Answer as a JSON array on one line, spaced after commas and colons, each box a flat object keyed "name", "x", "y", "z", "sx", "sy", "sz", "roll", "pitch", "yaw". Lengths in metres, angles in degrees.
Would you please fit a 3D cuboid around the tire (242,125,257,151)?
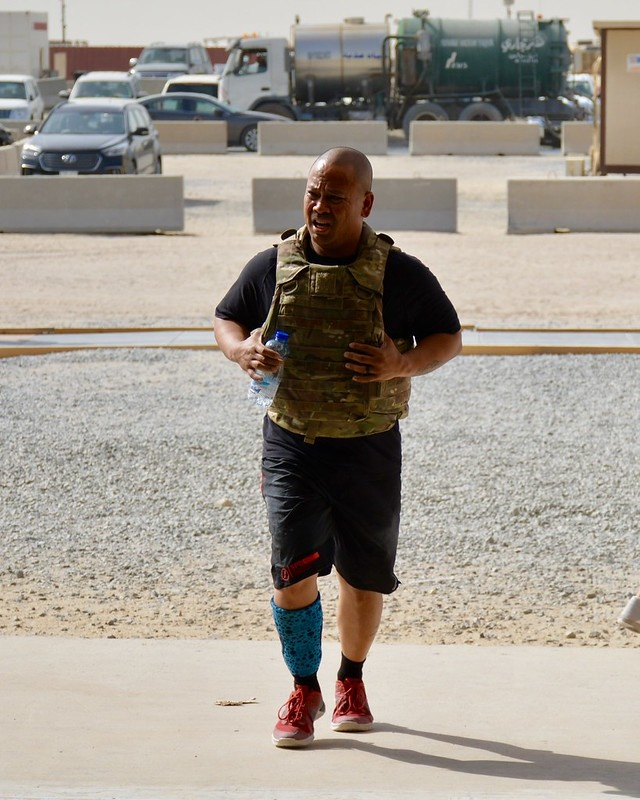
[{"name": "tire", "x": -1.233, "y": -4.562, "z": 29.312, "sx": 0.470, "sy": 0.417, "sz": 0.144, "roll": 0, "pitch": 11, "yaw": 2}]

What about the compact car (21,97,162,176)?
[{"name": "compact car", "x": -2.628, "y": -2.863, "z": 18.834, "sx": 1.496, "sy": 0.872, "sz": 2.768, "roll": -2, "pitch": 12, "yaw": -8}]

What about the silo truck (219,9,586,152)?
[{"name": "silo truck", "x": 1.545, "y": -5.636, "z": 29.470, "sx": 6.269, "sy": 1.928, "sz": 1.901, "roll": 2, "pitch": 13, "yaw": 11}]

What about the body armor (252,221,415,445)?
[{"name": "body armor", "x": 0.103, "y": -0.177, "z": 4.948, "sx": 0.400, "sy": 0.573, "sz": 0.450, "roll": 0, "pitch": 4, "yaw": -40}]

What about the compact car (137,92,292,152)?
[{"name": "compact car", "x": -1.905, "y": -4.800, "z": 29.253, "sx": 2.469, "sy": 0.727, "sz": 1.037, "roll": -2, "pitch": 9, "yaw": -10}]

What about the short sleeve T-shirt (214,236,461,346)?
[{"name": "short sleeve T-shirt", "x": 0.061, "y": -0.292, "z": 4.994, "sx": 0.739, "sy": 0.406, "sz": 0.358, "roll": 3, "pitch": 27, "yaw": 8}]

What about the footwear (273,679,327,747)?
[{"name": "footwear", "x": -0.066, "y": 0.916, "z": 4.844, "sx": 0.101, "sy": 0.131, "sz": 0.200, "roll": 2, "pitch": 12, "yaw": 13}]

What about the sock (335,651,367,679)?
[{"name": "sock", "x": 0.094, "y": 0.789, "z": 5.005, "sx": 0.088, "sy": 0.101, "sz": 0.072, "roll": 3, "pitch": -5, "yaw": 1}]
